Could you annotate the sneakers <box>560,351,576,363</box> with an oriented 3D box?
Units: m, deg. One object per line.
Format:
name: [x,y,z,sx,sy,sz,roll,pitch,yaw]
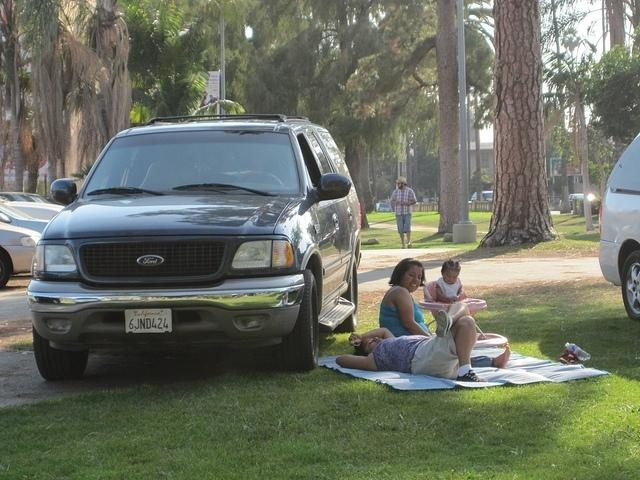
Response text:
sneakers: [2.481,1.172,8.525,0.121,0.116,0.094,-12,17,-24]

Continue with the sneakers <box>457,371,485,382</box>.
sneakers: [1.397,1.267,7.920,0.274,0.115,0.087,0,5,11]

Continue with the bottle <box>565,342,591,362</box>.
bottle: [2.565,1.119,8.517,0.212,0.102,0.166,28,2,2]

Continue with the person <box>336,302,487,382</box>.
person: [0.921,1.020,8.417,0.990,0.761,1.652,17,-18,-40]

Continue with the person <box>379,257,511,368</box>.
person: [1.301,0.700,8.995,1.365,1.077,0.838,-1,-1,14]

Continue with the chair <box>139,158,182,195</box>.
chair: [-1.621,-0.615,8.622,0.234,0.227,0.404,1,-1,1]

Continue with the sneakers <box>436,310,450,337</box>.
sneakers: [1.138,0.770,7.861,0.097,0.257,0.106,12,16,34]

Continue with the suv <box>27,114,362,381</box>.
suv: [-0.955,-0.105,9.178,2.025,1.794,3.627,-1,-4,9]
